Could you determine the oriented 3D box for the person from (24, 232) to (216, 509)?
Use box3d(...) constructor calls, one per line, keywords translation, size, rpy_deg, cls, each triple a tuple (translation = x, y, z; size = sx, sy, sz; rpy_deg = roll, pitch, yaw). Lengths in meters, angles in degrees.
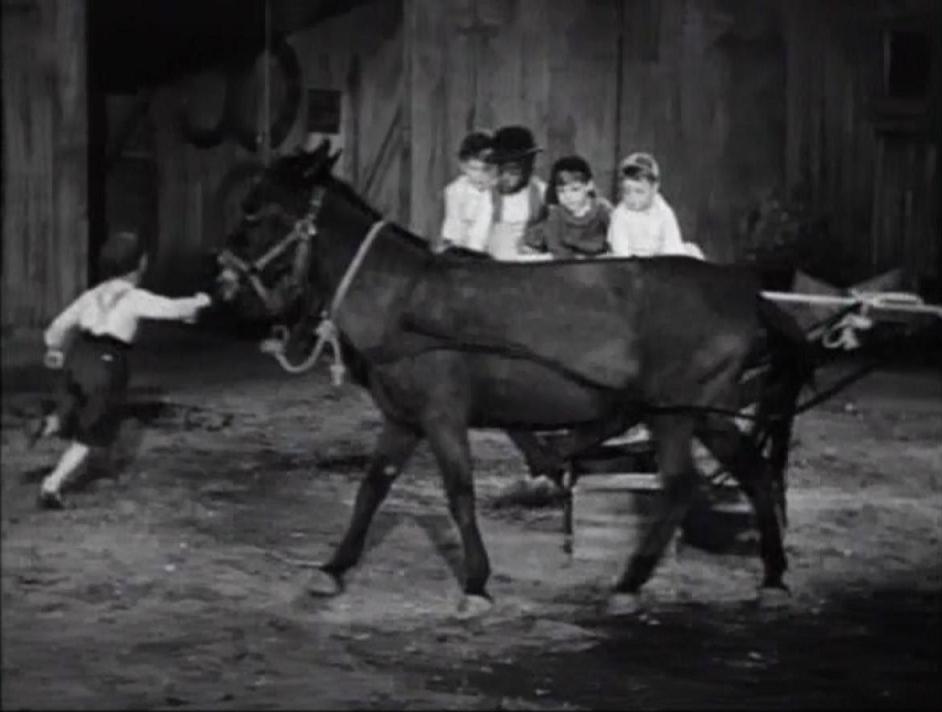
box3d(translation=(-1.175, 0.035, 3.942), size=(0.441, 0.830, 0.564), rpy_deg=(19, 20, 29), cls="person")
